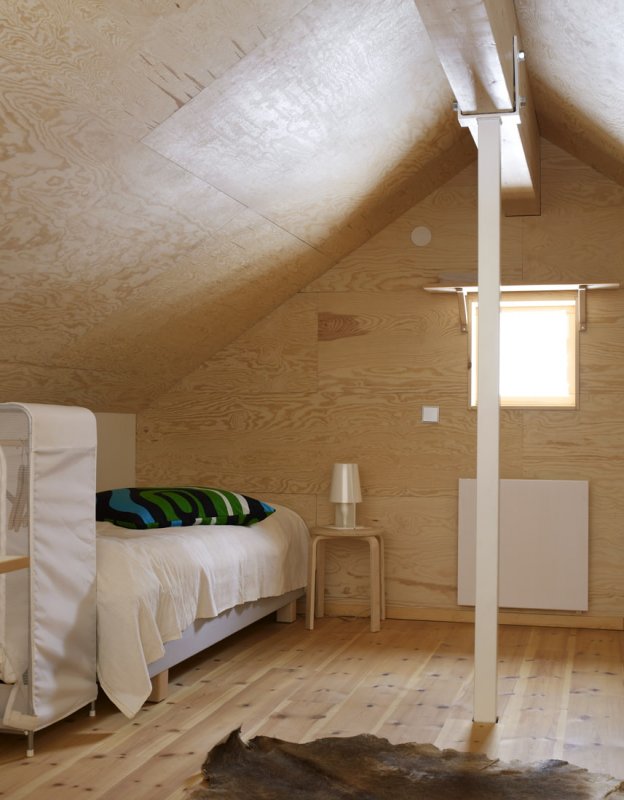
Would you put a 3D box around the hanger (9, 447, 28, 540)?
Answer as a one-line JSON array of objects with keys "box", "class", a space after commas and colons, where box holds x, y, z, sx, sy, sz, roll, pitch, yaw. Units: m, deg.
[{"box": [-0.808, 0.253, 1.988, 0.054, 0.233, 0.020, -2, -9, 19], "class": "hanger"}]

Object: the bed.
[{"box": [-0.453, 0.707, 2.630, 0.509, 0.220, 0.753, 0, 0, 18], "class": "bed"}]

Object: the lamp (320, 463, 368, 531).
[{"box": [0.180, 0.510, 3.811, 0.153, 0.345, 0.158, 0, -8, 3], "class": "lamp"}]

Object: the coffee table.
[{"box": [0.187, 0.931, 3.829, 0.577, 0.615, 0.525, 0, -3, 6], "class": "coffee table"}]
